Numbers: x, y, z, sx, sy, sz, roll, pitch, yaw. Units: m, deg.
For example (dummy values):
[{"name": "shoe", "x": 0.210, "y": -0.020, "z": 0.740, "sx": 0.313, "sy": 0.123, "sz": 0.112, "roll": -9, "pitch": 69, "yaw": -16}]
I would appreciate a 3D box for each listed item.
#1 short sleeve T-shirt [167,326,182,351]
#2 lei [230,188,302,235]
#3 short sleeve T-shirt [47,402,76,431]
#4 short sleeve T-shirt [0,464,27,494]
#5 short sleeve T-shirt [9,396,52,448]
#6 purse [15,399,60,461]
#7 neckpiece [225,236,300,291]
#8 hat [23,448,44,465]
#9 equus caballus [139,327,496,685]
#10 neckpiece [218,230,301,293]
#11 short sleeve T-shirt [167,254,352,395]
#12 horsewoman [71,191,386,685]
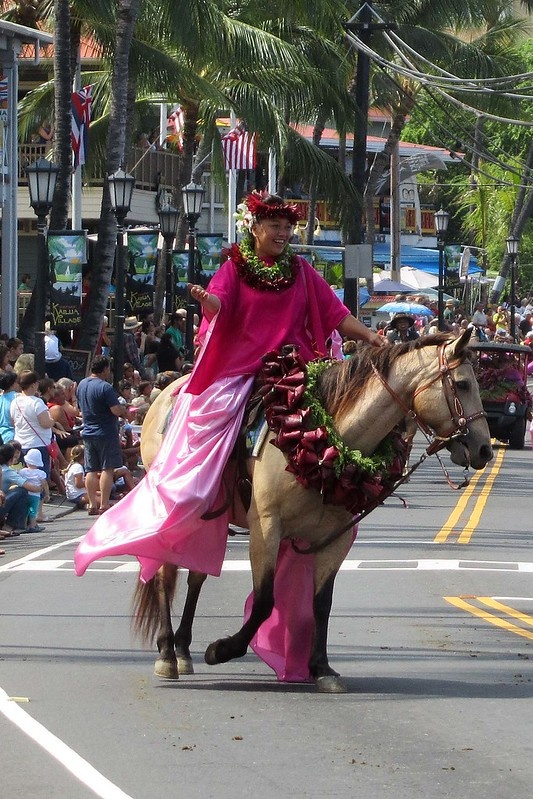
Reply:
[{"name": "short sleeve T-shirt", "x": -1.910, "y": -1.228, "z": 26.626, "sx": 0.325, "sy": 0.430, "sz": 0.858, "roll": -3, "pitch": 7, "yaw": -5}, {"name": "lei", "x": -0.014, "y": -1.025, "z": 7.248, "sx": 0.264, "sy": 0.119, "sz": 0.251, "roll": 5, "pitch": -6, "yaw": 3}, {"name": "short sleeve T-shirt", "x": -2.687, "y": 0.239, "z": 17.398, "sx": 0.336, "sy": 0.311, "sz": 0.267, "roll": 14, "pitch": 25, "yaw": 42}, {"name": "short sleeve T-shirt", "x": -2.684, "y": 0.790, "z": 13.965, "sx": 0.258, "sy": 0.406, "sz": 0.310, "roll": -6, "pitch": 12, "yaw": -25}, {"name": "short sleeve T-shirt", "x": -2.698, "y": 0.252, "z": 15.182, "sx": 0.664, "sy": 0.588, "sz": 0.377, "roll": 4, "pitch": 7, "yaw": 35}, {"name": "purse", "x": -2.681, "y": 0.262, "z": 15.208, "sx": 0.542, "sy": 0.682, "sz": 0.405, "roll": 8, "pitch": 16, "yaw": 25}, {"name": "neckpiece", "x": -0.031, "y": -0.738, "z": 7.233, "sx": 0.292, "sy": 0.113, "sz": 0.303, "roll": 5, "pitch": 43, "yaw": -16}, {"name": "hat", "x": -2.620, "y": 0.668, "z": 14.967, "sx": 0.241, "sy": 0.222, "sz": 0.219, "roll": 2, "pitch": 3, "yaw": -33}, {"name": "equus caballus", "x": 0.156, "y": 0.577, "z": 7.051, "sx": 0.962, "sy": 1.985, "sz": 1.898, "roll": 1, "pitch": 3, "yaw": -37}, {"name": "neckpiece", "x": -0.032, "y": -0.715, "z": 7.266, "sx": 0.299, "sy": 0.124, "sz": 0.311, "roll": 5, "pitch": 44, "yaw": -13}, {"name": "short sleeve T-shirt", "x": 0.034, "y": -0.330, "z": 7.288, "sx": 0.993, "sy": 0.915, "sz": 0.395, "roll": -3, "pitch": -24, "yaw": -4}, {"name": "horsewoman", "x": -0.077, "y": 0.152, "z": 7.345, "sx": 1.829, "sy": 2.571, "sz": 1.639, "roll": -8, "pitch": -16, "yaw": 31}]
